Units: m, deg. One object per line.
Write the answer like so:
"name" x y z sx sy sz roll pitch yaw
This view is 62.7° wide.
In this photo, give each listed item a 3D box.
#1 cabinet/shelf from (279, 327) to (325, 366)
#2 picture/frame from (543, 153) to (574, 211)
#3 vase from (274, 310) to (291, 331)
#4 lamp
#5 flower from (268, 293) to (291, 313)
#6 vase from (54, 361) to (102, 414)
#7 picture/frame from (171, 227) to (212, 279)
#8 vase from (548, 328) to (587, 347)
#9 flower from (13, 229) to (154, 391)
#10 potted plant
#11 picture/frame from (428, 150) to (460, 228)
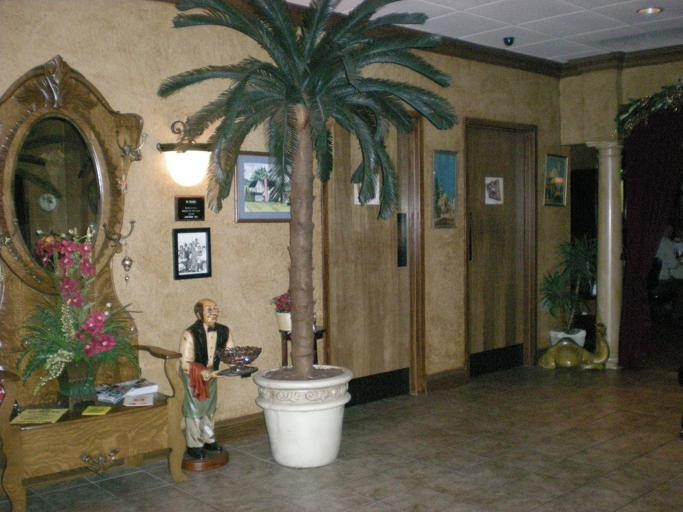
"cabinet/shelf" -0.324 0.808 5.186 0.427 0.416 0.417 0 0 -31
"picture/frame" 2.987 -1.036 7.795 0.115 1.137 1.042 -3 -2 40
"vase" -0.530 0.592 5.079 0.171 0.141 0.187 0 -5 1
"lamp" -1.272 -0.841 4.734 0.565 0.561 0.535 -1 6 -15
"flower" -0.545 0.425 5.090 0.185 0.180 0.183 -1 -1 13
"vase" -1.819 0.887 3.891 0.303 0.312 0.321 -1 0 40
"picture/frame" -1.309 -0.025 4.826 0.454 0.525 0.041 -2 1 -40
"vase" 2.996 1.102 7.476 0.433 0.214 0.476 1 5 20
"flower" -1.952 0.455 4.049 0.767 1.059 0.737 5 7 -8
"potted plant" 3.297 0.390 7.991 0.662 1.326 1.690 2 5 28
"picture/frame" 1.203 -0.763 6.567 0.500 0.948 0.027 -7 8 -42
